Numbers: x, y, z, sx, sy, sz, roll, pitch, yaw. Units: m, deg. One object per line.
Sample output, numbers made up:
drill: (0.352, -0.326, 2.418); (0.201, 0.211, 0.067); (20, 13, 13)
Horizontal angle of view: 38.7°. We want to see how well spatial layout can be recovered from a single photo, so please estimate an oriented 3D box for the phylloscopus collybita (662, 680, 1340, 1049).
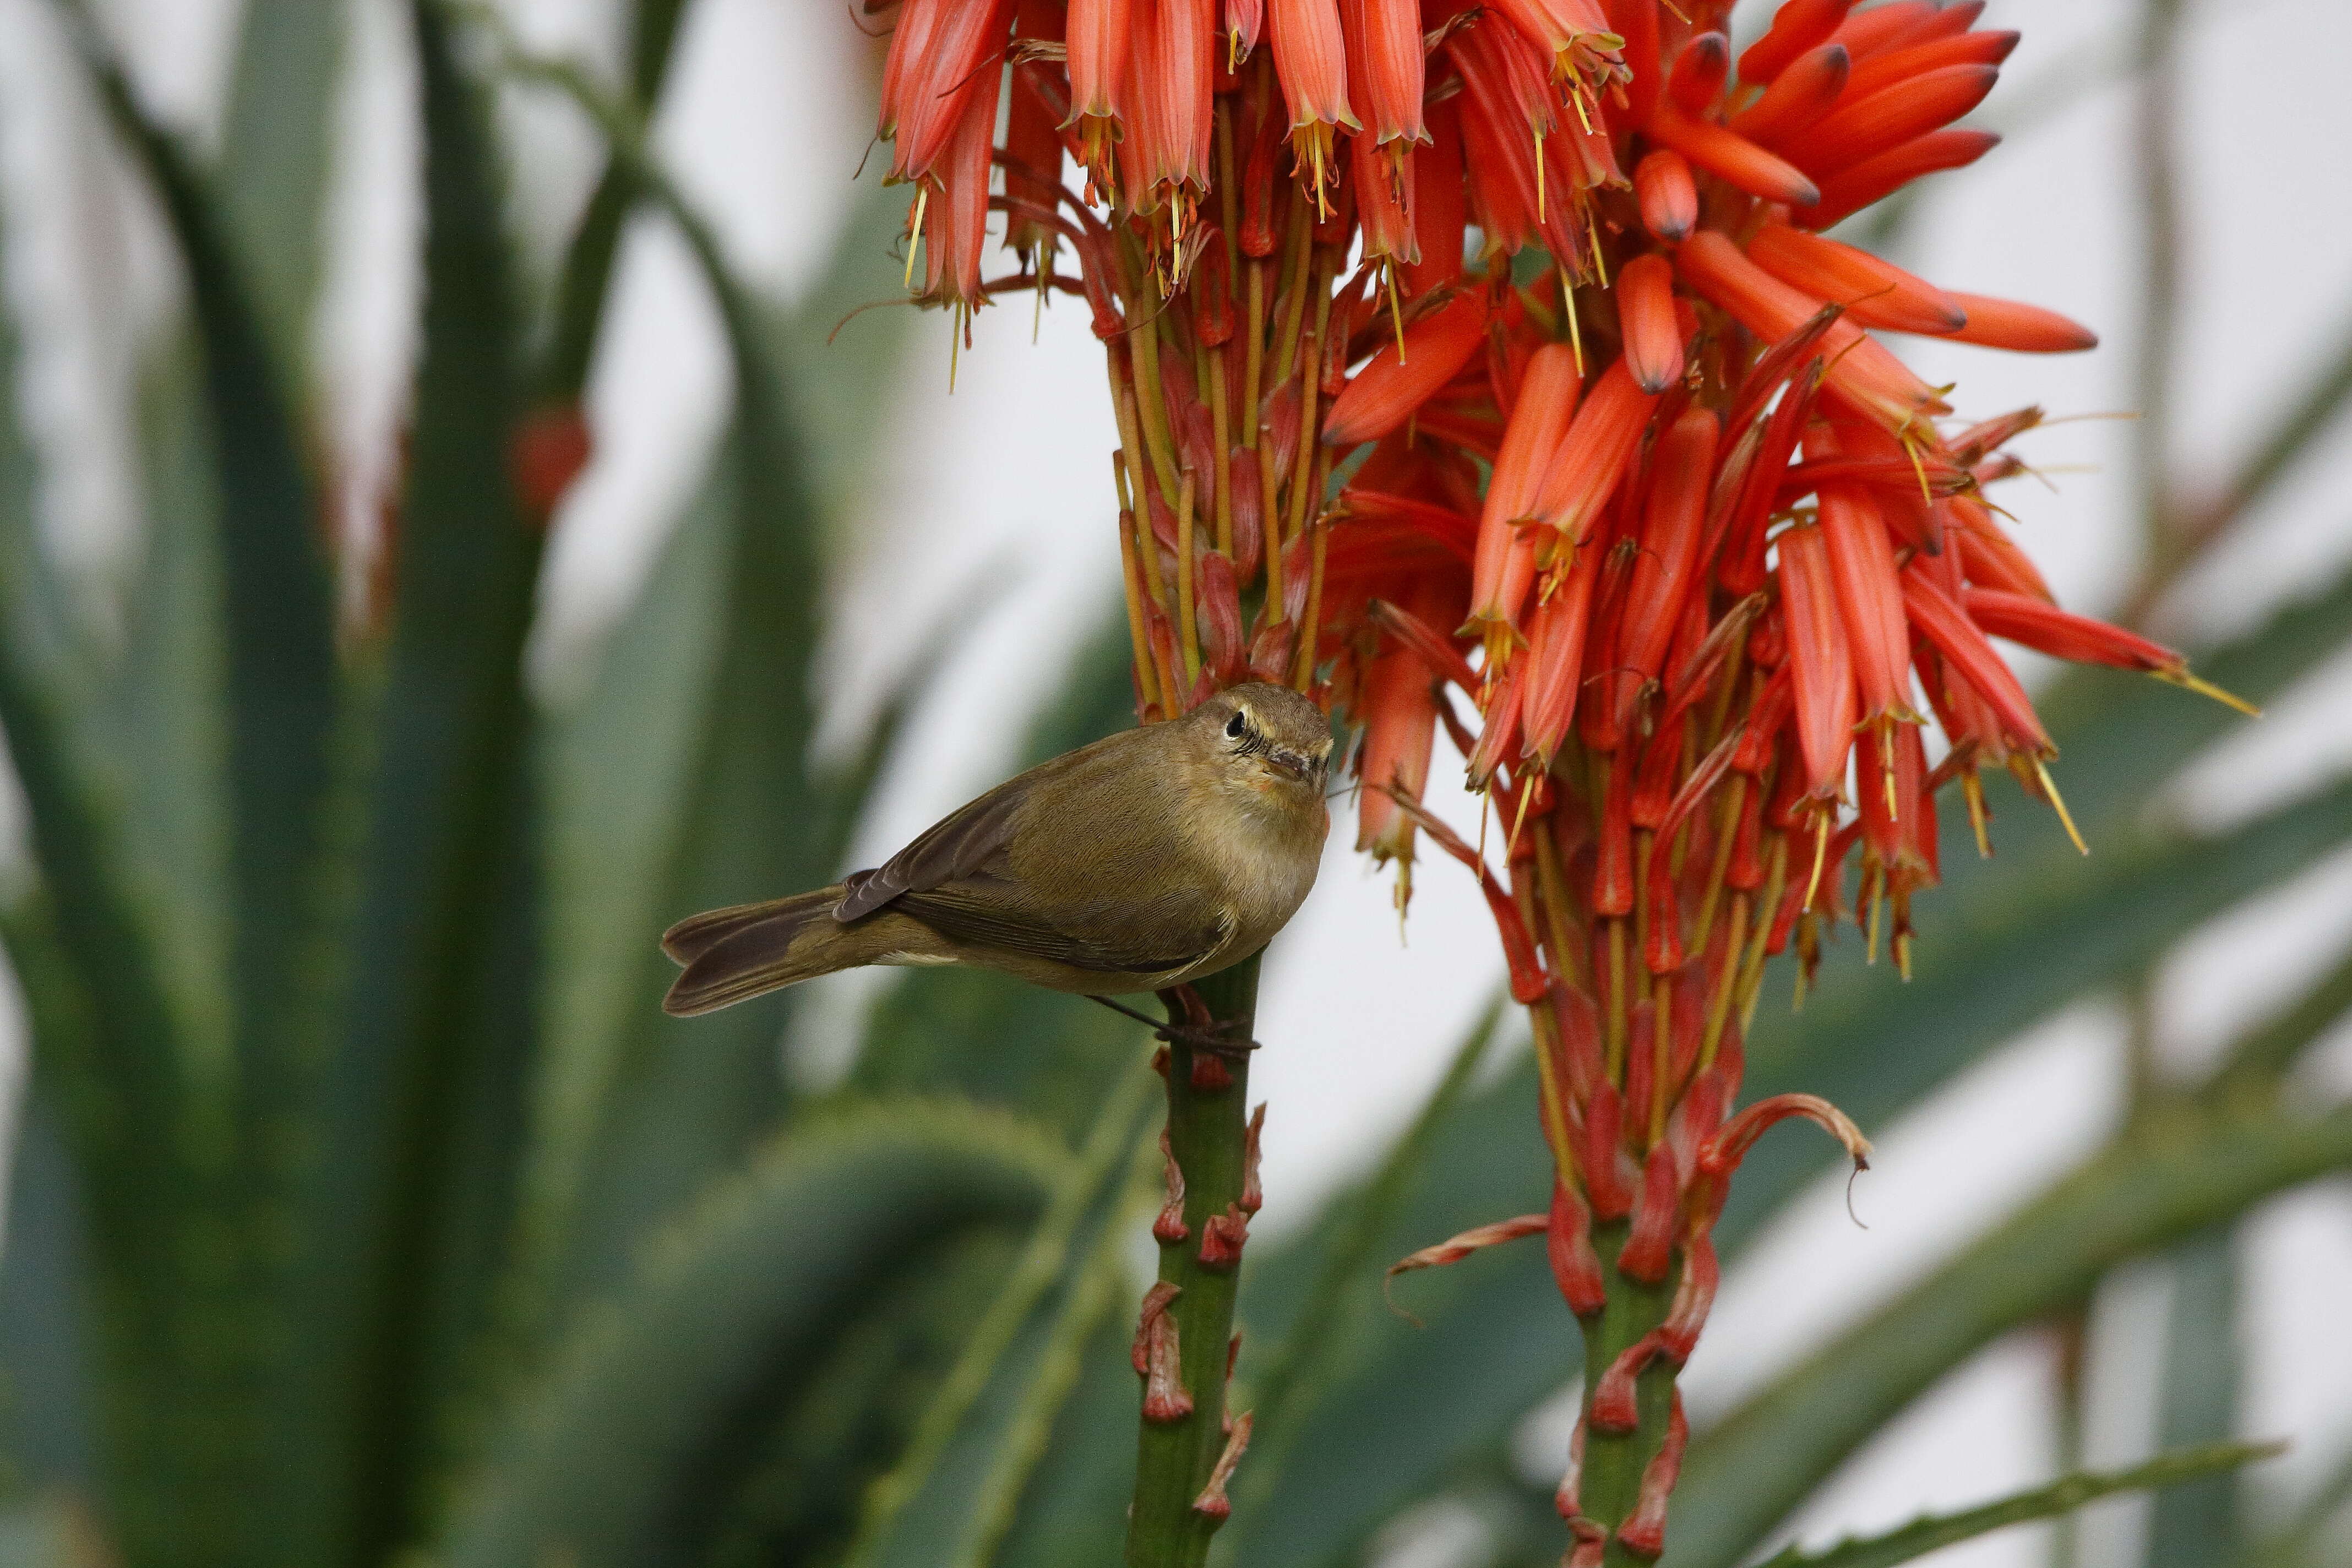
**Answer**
phylloscopus collybita: (-0.076, -0.011, 1.767); (0.344, 0.172, 0.211); (5, -43, 4)
